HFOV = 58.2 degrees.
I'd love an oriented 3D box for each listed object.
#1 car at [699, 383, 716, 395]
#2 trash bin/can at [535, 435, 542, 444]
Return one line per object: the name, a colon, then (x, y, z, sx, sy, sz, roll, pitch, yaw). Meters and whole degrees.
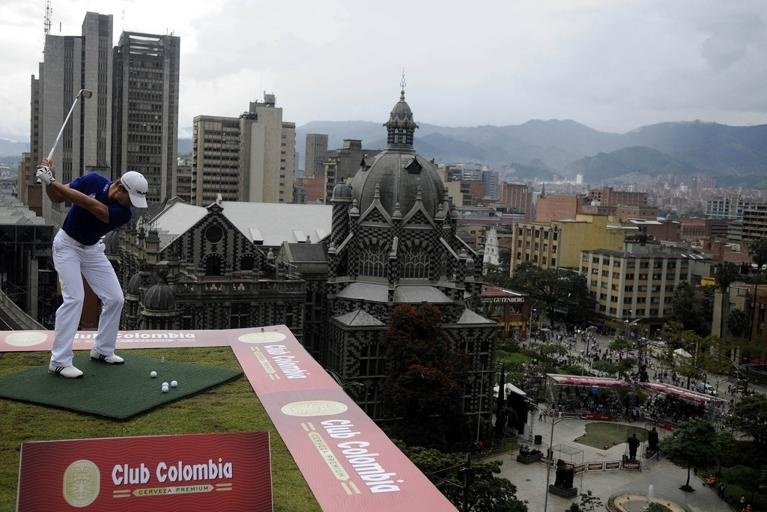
car: (39.131, 16.187, 83.236, 1.316, 0.980, 2.147, 0, 10, 15)
trash bin/can: (14.580, 17.380, 65.353, 0.846, 0.859, 0.811, 1, 7, 8)
